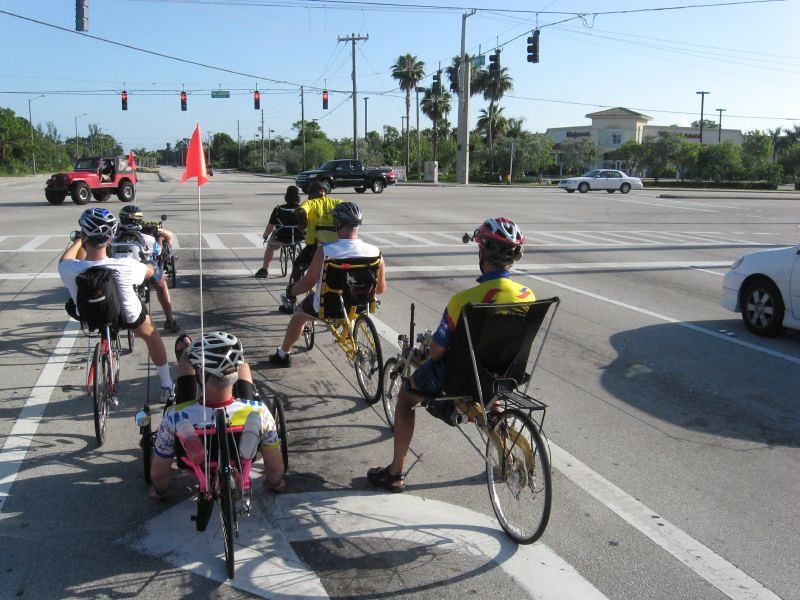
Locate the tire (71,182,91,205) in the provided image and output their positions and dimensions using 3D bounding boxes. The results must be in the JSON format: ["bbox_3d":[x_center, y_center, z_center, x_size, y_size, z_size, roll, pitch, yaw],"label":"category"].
[{"bbox_3d":[-13.135,-4.392,29.573,0.317,0.957,0.889,0,1,12],"label":"tire"}]

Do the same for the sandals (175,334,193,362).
[{"bbox_3d":[-1.922,0.428,6.363,0.120,0.404,0.148,2,2,-4],"label":"sandals"}]

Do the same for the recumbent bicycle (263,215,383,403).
[{"bbox_3d":[-0.734,-0.044,7.927,0.918,1.934,2.361,-2,11,-29],"label":"recumbent bicycle"}]

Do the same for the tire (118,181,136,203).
[{"bbox_3d":[-12.051,-4.740,31.578,0.305,0.992,0.919,5,6,18],"label":"tire"}]

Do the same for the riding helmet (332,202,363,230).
[{"bbox_3d":[-0.548,-0.867,7.393,0.262,0.280,0.356,-1,15,-5],"label":"riding helmet"}]

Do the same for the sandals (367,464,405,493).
[{"bbox_3d":[-0.121,1.468,5.978,0.309,0.157,0.152,20,14,27],"label":"sandals"}]

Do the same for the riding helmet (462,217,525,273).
[{"bbox_3d":[0.685,-0.380,5.556,0.319,0.457,0.408,14,22,-11],"label":"riding helmet"}]

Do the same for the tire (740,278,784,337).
[{"bbox_3d":[5.144,0.105,10.162,0.220,0.799,0.742,-4,8,-17],"label":"tire"}]

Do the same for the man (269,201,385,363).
[{"bbox_3d":[-0.738,-0.154,8.065,1.212,2.031,1.310,-2,13,-39],"label":"man"}]

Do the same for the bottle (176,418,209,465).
[{"bbox_3d":[-1.483,1.001,5.107,0.117,0.343,0.190,-36,8,-41],"label":"bottle"}]

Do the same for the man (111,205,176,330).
[{"bbox_3d":[-3.420,-0.382,9.725,0.707,1.529,2.409,-4,10,-6],"label":"man"}]

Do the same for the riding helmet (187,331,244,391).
[{"bbox_3d":[-1.304,0.402,5.068,0.345,0.382,0.362,-8,17,-29],"label":"riding helmet"}]

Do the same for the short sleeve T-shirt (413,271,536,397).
[{"bbox_3d":[0.569,0.295,5.816,0.812,0.850,1.472,8,-20,-16],"label":"short sleeve T-shirt"}]

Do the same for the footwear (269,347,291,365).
[{"bbox_3d":[-1.435,0.673,8.554,0.121,0.167,0.325,-3,15,-19],"label":"footwear"}]

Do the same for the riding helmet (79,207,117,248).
[{"bbox_3d":[-2.831,-0.674,6.755,0.299,0.353,0.324,-7,17,-26],"label":"riding helmet"}]

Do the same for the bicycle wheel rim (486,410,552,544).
[{"bbox_3d":[0.864,1.271,5.312,0.189,0.974,0.794,-7,17,-27],"label":"bicycle wheel rim"}]

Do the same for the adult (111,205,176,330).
[{"bbox_3d":[-3.510,-0.448,9.791,0.723,1.770,2.509,-6,8,-13],"label":"adult"}]

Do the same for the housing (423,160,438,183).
[{"bbox_3d":[2.652,-10.837,61.409,0.832,1.655,1.606,-3,15,-12],"label":"housing"}]

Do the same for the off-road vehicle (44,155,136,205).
[{"bbox_3d":[-13.275,-5.070,30.692,2.089,2.348,3.880,3,5,38],"label":"off-road vehicle"}]

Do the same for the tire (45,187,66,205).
[{"bbox_3d":[-13.973,-4.230,29.179,0.255,0.716,0.651,15,18,38],"label":"tire"}]

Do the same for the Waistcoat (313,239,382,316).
[{"bbox_3d":[-0.568,-0.269,7.662,0.674,0.834,0.588,-15,33,-39],"label":"Waistcoat"}]

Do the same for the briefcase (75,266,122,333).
[{"bbox_3d":[-2.768,-0.004,6.595,0.327,0.524,0.273,-8,3,-28],"label":"briefcase"}]

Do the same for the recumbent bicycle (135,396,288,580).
[{"bbox_3d":[-1.286,1.156,5.376,0.770,0.787,1.431,1,23,-17],"label":"recumbent bicycle"}]

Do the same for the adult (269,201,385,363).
[{"bbox_3d":[-0.831,-0.197,8.101,1.264,2.026,1.496,8,12,9],"label":"adult"}]

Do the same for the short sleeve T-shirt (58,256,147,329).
[{"bbox_3d":[-2.943,0.032,6.765,0.293,0.582,0.590,7,-8,11],"label":"short sleeve T-shirt"}]

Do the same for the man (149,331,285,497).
[{"bbox_3d":[-1.294,0.742,5.143,0.684,0.979,1.529,1,30,-17],"label":"man"}]

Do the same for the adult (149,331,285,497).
[{"bbox_3d":[-1.297,0.750,5.128,0.684,0.979,1.529,1,30,-17],"label":"adult"}]
